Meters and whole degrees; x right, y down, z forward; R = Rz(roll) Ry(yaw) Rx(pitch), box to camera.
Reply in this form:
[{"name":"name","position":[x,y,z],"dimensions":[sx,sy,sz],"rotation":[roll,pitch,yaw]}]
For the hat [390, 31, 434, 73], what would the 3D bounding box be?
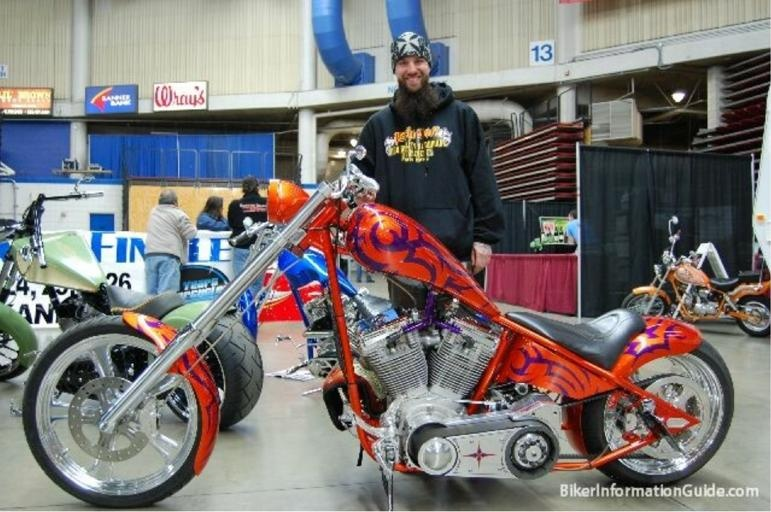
[{"name":"hat","position":[0.278,-2.398,9.302],"dimensions":[0.367,0.417,0.444],"rotation":[-1,-8,0]}]
